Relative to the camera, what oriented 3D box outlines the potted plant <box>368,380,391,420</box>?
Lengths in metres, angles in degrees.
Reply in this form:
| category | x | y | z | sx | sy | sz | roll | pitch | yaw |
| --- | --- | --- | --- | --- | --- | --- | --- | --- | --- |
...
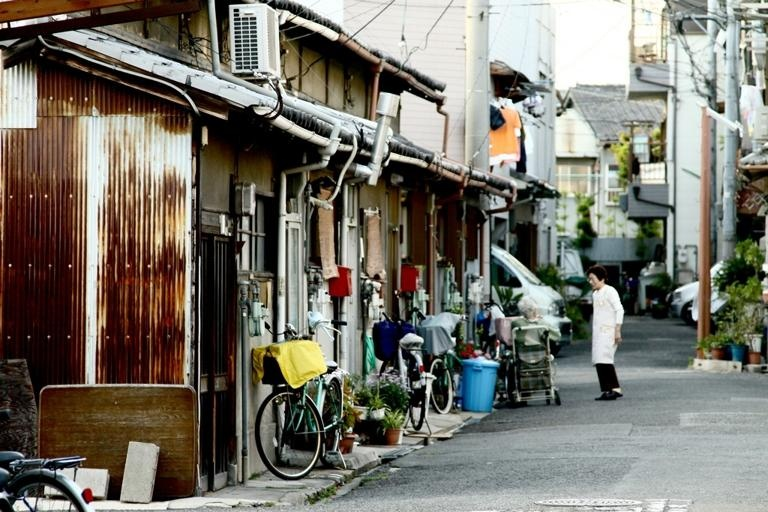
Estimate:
| category | x | y | z | sx | sy | sz | roll | pitch | yaw |
| --- | --- | --- | --- | --- | --- | --- | --- | --- | --- |
| potted plant | -0.106 | 2.367 | 28.231 | 0.379 | 0.530 | 0.408 | 0 | -8 | 2 |

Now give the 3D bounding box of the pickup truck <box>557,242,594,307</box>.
| category | x | y | z | sx | sy | sz | roll | pitch | yaw |
| --- | --- | --- | --- | --- | --- | --- | --- | --- | --- |
| pickup truck | 6.059 | 0.417 | 57.205 | 0.922 | 1.498 | 2.980 | -11 | 29 | 4 |

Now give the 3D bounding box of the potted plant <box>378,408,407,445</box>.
| category | x | y | z | sx | sy | sz | roll | pitch | yaw |
| --- | --- | --- | --- | --- | --- | --- | --- | --- | --- |
| potted plant | 0.067 | 2.727 | 28.299 | 0.419 | 0.517 | 0.521 | 3 | -8 | -10 |

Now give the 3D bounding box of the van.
| category | x | y | z | sx | sy | sz | roll | pitch | yaw |
| --- | --- | --- | --- | --- | --- | --- | --- | --- | --- |
| van | 3.330 | 0.924 | 39.831 | 1.198 | 2.130 | 2.814 | 0 | -2 | -10 |

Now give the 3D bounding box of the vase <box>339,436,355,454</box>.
| category | x | y | z | sx | sy | sz | roll | pitch | yaw |
| --- | --- | --- | --- | --- | --- | --- | --- | --- | --- |
| vase | -0.586 | 2.848 | 26.951 | 0.244 | 0.181 | 0.239 | 3 | -5 | -28 |

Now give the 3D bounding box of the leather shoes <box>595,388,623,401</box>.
| category | x | y | z | sx | sy | sz | roll | pitch | yaw |
| --- | --- | --- | --- | --- | --- | --- | --- | --- | --- |
| leather shoes | 3.951 | 2.438 | 31.145 | 0.500 | 0.205 | 0.180 | 0 | -2 | -1 |

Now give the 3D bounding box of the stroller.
| category | x | y | z | sx | sy | sz | roll | pitch | yaw |
| --- | --- | --- | --- | --- | --- | --- | --- | --- | --- |
| stroller | 2.611 | 1.906 | 31.887 | 1.233 | 1.654 | 1.376 | 0 | 6 | 2 |

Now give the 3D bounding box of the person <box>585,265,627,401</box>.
| category | x | y | z | sx | sy | sz | roll | pitch | yaw |
| --- | --- | --- | --- | --- | --- | --- | --- | --- | --- |
| person | 3.975 | 1.343 | 31.695 | 0.575 | 2.436 | 1.427 | -4 | -4 | 6 |

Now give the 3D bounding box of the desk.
| category | x | y | z | sx | sy | sz | roll | pitch | yaw |
| --- | --- | --- | --- | --- | --- | --- | --- | --- | --- |
| desk | -3.637 | 2.546 | 24.439 | 2.324 | 1.532 | 0.563 | 2 | -4 | 6 |
